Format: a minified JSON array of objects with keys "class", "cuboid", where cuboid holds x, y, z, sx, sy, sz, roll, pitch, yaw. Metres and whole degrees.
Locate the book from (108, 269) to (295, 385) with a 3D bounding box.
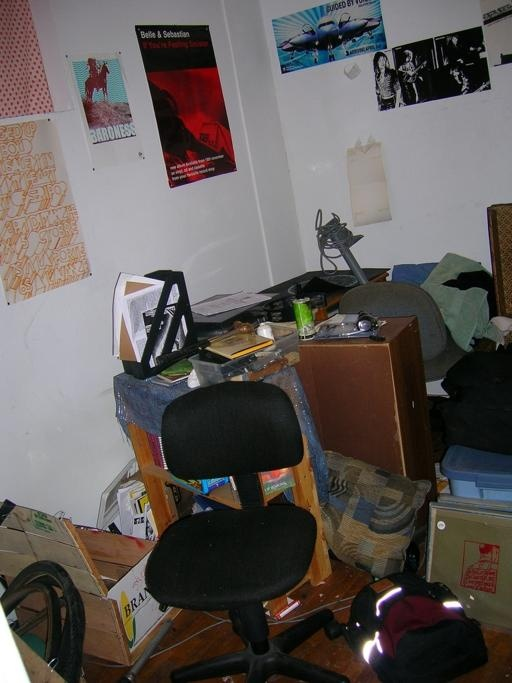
[{"class":"book","cuboid":[-0.189,-0.037,1.869,0.568,0.266,0.429,9,26,30]}]
